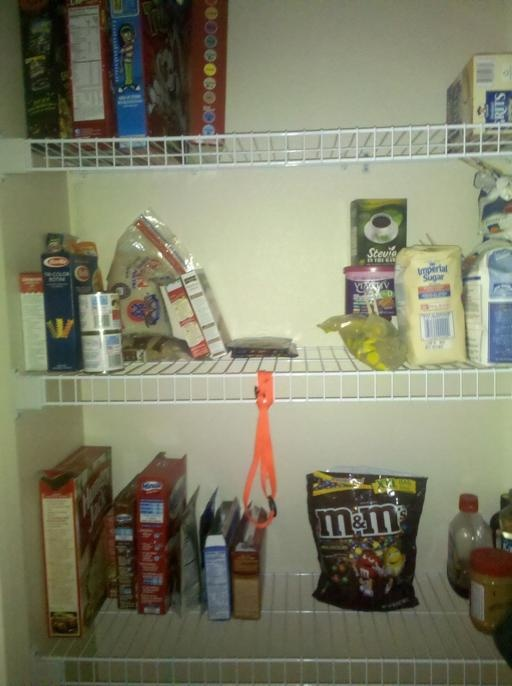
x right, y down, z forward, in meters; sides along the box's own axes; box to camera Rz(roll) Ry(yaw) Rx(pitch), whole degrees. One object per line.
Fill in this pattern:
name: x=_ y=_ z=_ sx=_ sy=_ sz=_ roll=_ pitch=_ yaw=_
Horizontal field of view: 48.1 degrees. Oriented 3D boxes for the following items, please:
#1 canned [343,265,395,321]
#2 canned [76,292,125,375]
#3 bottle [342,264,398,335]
canned: x=0.230 y=-0.099 z=1.183 sx=0.108 sy=0.101 sz=0.095 roll=0 pitch=-6 yaw=8
canned: x=-0.271 y=-0.026 z=1.068 sx=0.066 sy=0.148 sz=0.123 roll=-1 pitch=11 yaw=19
bottle: x=0.224 y=-0.084 z=1.196 sx=0.168 sy=0.149 sz=0.097 roll=0 pitch=7 yaw=13
